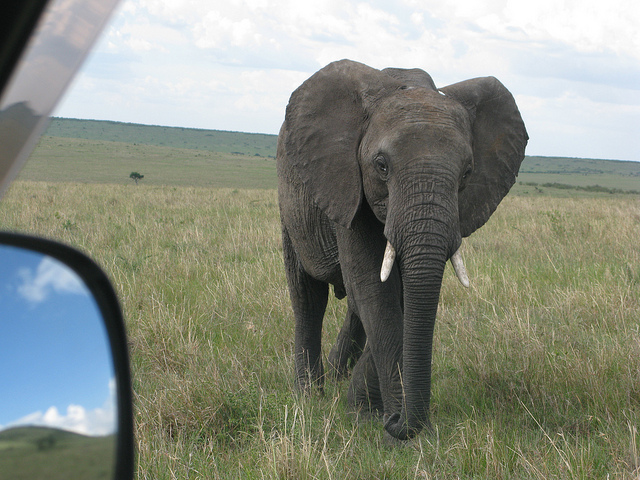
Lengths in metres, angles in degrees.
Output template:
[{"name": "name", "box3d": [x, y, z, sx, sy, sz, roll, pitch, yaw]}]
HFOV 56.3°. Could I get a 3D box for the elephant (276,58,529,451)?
[{"name": "elephant", "box3d": [0.510, 0.145, 5.978, 1.779, 3.163, 3.736, -1, 2, -12]}]
